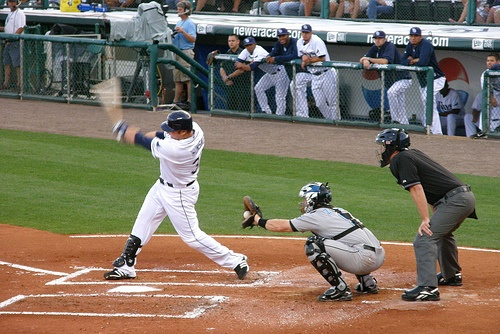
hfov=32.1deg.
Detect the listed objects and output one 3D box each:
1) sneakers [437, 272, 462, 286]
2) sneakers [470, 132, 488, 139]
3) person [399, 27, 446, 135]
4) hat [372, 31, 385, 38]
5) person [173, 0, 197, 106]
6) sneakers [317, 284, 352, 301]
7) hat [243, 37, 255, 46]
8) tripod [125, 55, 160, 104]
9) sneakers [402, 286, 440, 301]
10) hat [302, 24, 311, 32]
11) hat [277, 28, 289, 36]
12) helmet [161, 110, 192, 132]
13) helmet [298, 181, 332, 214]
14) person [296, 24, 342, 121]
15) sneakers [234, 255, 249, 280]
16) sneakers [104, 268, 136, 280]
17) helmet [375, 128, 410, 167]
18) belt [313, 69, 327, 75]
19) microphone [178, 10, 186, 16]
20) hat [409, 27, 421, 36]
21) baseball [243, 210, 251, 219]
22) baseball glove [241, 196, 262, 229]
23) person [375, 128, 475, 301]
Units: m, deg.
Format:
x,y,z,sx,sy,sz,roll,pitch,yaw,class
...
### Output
x,y,z,sx,sy,sz,roll,pitch,yaw,class
2.965,1.664,13.023,0.395,0.156,0.171,4,7,14,sneakers
5.055,-0.696,19.351,0.367,0.126,0.116,3,12,4,sneakers
3.851,-1.889,19.392,0.982,2.365,0.711,1,5,9,person
2.873,-2.968,19.491,0.267,0.155,0.228,1,5,13,hat
-1.653,-2.866,22.222,0.605,2.633,1.146,-1,5,-4,person
1.246,1.826,12.561,0.533,0.208,0.181,1,9,-5,sneakers
0.024,-2.977,20.664,0.258,0.117,0.185,-20,8,-42,hat
-2.770,-2.272,22.055,1.005,1.333,0.354,3,6,32,tripod
2.418,1.798,12.410,0.498,0.198,0.194,2,10,-2,sneakers
1.294,-3.176,19.911,0.217,0.182,0.315,0,5,-3,hat
0.790,-3.160,20.462,0.263,0.210,0.351,0,5,0,hat
-1.046,-0.670,12.634,0.401,0.181,0.283,4,27,-3,helmet
0.958,0.434,12.620,0.496,0.379,0.385,0,1,4,helmet
1.584,-2.076,20.425,1.017,1.941,0.670,0,5,2,person
-0.111,1.518,13.151,0.204,0.146,0.411,5,-35,8,sneakers
-1.933,1.610,12.981,0.495,0.191,0.165,4,16,-7,sneakers
2.032,-0.308,12.473,0.574,0.553,0.453,2,5,13,helmet
1.638,-2.199,20.185,0.229,0.060,0.133,-18,-7,30,belt
-1.690,-3.833,21.760,0.228,0.106,0.101,2,6,25,microphone
3.618,-2.961,19.072,0.241,0.178,0.210,0,5,5,hat
-0.040,0.698,12.717,0.109,0.096,0.101,-6,-1,4,baseball
0.030,0.655,12.725,0.259,0.458,0.228,-10,4,41,baseball glove
2.583,0.678,12.609,1.299,2.437,0.666,-3,6,-24,person
